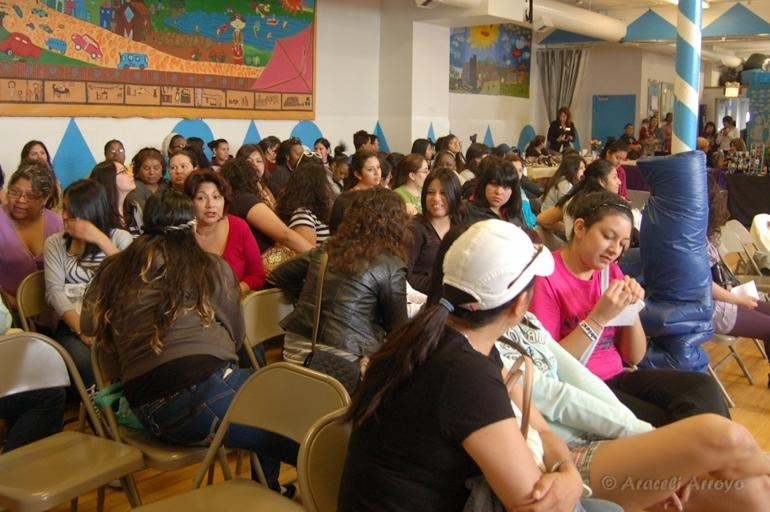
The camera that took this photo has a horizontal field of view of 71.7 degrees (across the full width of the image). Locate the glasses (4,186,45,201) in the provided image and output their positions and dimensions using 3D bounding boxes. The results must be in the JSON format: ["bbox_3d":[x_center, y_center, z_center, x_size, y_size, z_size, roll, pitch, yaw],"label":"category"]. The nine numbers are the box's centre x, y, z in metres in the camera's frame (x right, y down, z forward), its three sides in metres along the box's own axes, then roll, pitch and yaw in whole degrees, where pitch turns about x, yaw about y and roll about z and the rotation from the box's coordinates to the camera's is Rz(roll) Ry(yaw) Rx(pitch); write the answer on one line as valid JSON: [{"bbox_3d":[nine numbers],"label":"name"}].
[{"bbox_3d":[-2.257,-0.390,3.315,0.207,0.075,0.083,-1,10,-9],"label":"glasses"}]

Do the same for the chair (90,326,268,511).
[{"bbox_3d":[-0.810,0.676,2.496,0.495,0.917,0.625,-3,3,-44],"label":"chair"}]

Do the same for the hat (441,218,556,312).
[{"bbox_3d":[0.345,-0.012,1.628,0.297,0.172,0.228,-38,45,-20],"label":"hat"}]

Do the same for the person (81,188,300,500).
[{"bbox_3d":[-0.969,0.418,2.546,0.855,1.378,0.743,-5,11,-44],"label":"person"}]
